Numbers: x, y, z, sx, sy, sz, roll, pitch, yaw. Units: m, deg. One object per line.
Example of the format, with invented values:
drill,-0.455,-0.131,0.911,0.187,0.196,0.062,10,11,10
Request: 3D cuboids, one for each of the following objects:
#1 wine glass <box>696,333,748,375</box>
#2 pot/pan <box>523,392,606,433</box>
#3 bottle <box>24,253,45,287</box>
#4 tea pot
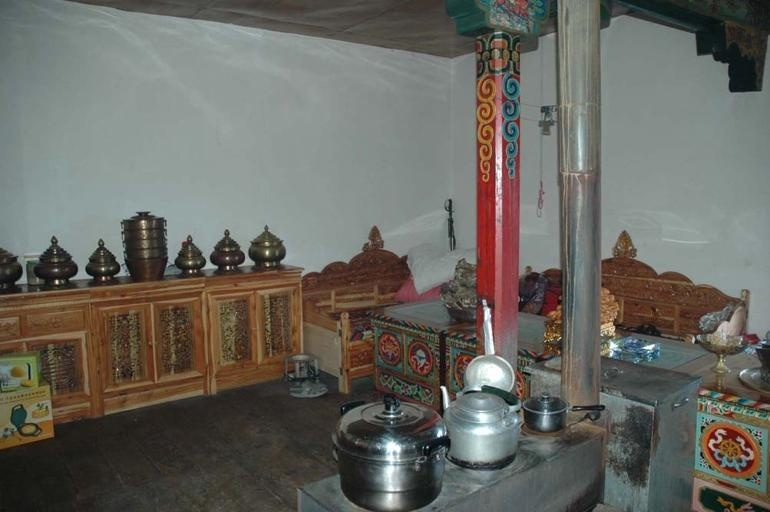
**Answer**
wine glass,2.412,0.674,4.126,0.330,0.260,0.249,-6,8,-16
pot/pan,1.034,0.891,3.437,0.511,0.260,0.344,1,3,14
bottle,-3.405,0.122,5.584,0.142,0.281,0.435,-9,9,-33
tea pot,0.537,0.976,3.212,0.415,0.378,0.163,-3,8,7
